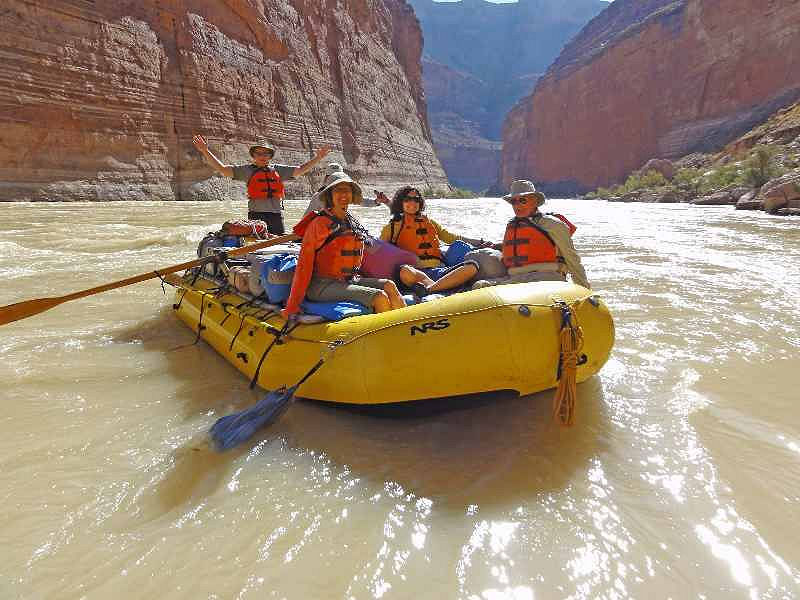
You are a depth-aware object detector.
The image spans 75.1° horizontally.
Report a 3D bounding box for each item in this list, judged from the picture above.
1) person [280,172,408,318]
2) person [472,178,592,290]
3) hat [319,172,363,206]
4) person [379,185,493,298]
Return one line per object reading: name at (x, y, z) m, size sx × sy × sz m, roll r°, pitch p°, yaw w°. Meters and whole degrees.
person at (-0.317, -0.335, 3.603) m, size 1.049 × 1.005 × 0.837 m, roll 6°, pitch 11°, yaw 9°
person at (0.912, -0.452, 3.964) m, size 0.982 × 0.847 × 0.829 m, roll -6°, pitch 6°, yaw -6°
hat at (-0.417, -0.833, 3.657) m, size 0.317 × 0.130 × 0.340 m, roll -1°, pitch -26°, yaw -2°
person at (0.206, -0.482, 4.204) m, size 1.060 × 0.695 × 1.200 m, roll -3°, pitch 27°, yaw -15°
